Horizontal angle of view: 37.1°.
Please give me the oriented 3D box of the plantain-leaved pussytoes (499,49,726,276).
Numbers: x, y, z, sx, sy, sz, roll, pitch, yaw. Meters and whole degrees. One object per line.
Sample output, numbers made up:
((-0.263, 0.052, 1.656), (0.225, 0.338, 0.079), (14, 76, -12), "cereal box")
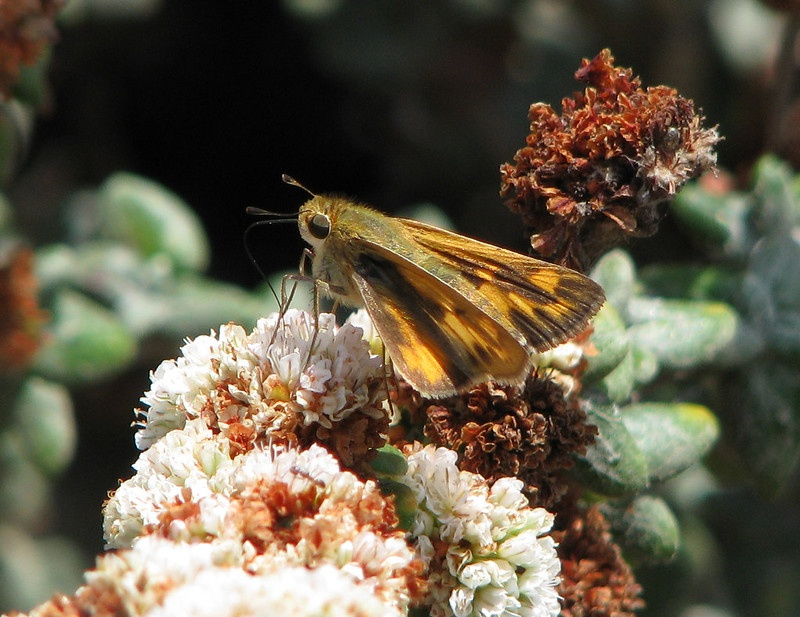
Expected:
((0.338, -0.247, 2.165), (0.349, 0.367, 0.337), (-33, 75, -10), "plantain-leaved pussytoes")
